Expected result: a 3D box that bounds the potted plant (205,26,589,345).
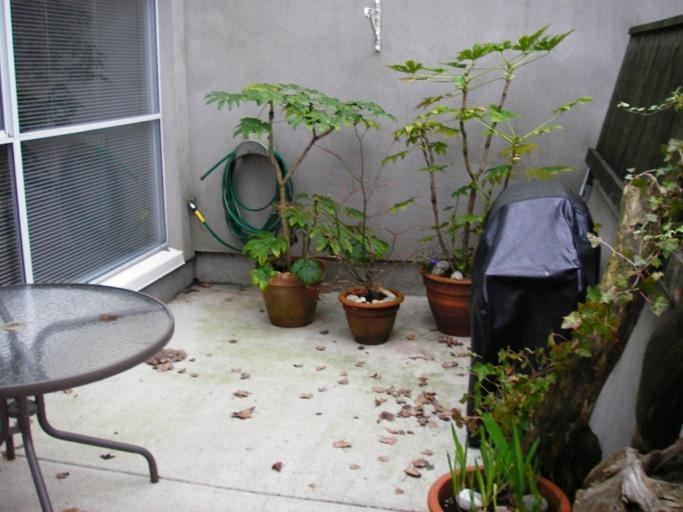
[{"bbox_3d":[0.430,-0.601,4.184,2.405,2.318,1.484,-1,21,-10],"label":"potted plant"}]
